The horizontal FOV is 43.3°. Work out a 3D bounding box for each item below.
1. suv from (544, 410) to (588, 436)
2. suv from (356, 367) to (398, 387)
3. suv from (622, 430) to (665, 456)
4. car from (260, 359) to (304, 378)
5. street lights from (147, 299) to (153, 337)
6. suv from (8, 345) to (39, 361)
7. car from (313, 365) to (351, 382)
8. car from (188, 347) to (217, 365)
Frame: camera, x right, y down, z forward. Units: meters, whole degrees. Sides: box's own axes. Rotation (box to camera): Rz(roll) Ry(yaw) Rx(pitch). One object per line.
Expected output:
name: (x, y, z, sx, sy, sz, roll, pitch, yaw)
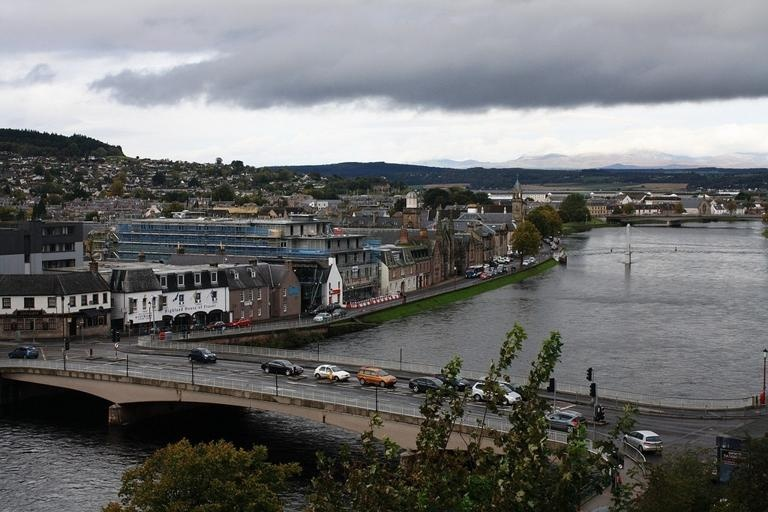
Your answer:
suv: (13.907, 12.625, 73.928, 2.627, 1.313, 1.756, -3, 3, -2)
suv: (-0.503, 10.836, 85.716, 2.852, 1.120, 1.628, 0, 3, 22)
suv: (19.279, 13.808, 71.789, 2.551, 1.380, 2.182, -2, 3, 13)
car: (-9.327, 10.425, 89.121, 3.548, 1.052, 1.465, 1, 3, 20)
street lights: (-26.058, 6.745, 108.364, 0.441, 3.362, 0.608, -3, 4, 7)
suv: (-34.843, 9.571, 94.172, 2.616, 1.021, 1.464, 4, -1, 7)
car: (-4.676, 10.688, 87.412, 2.431, 0.994, 1.495, -2, 3, 16)
car: (-17.224, 9.690, 93.042, 2.252, 1.046, 1.302, -1, 2, 16)
